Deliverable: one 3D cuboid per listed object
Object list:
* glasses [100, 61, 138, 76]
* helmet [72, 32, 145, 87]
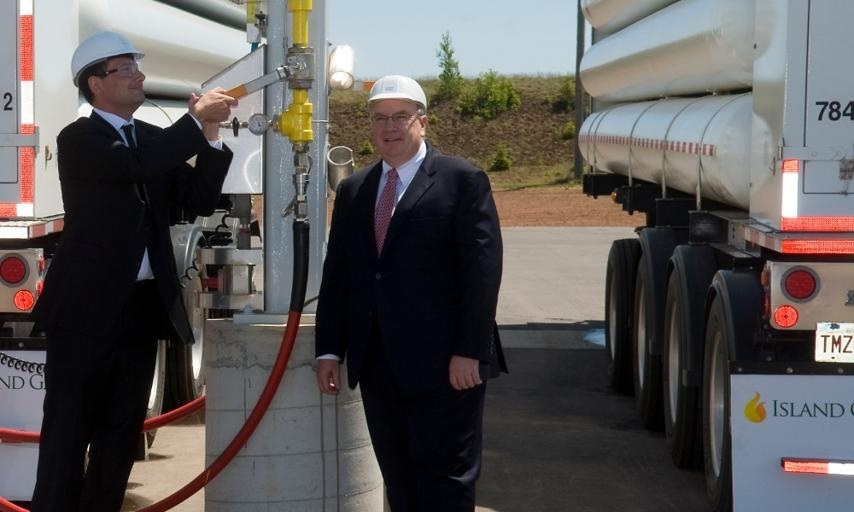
[{"bbox_3d":[-1.891,-1.172,6.163,0.124,0.050,0.103,-8,9,2],"label":"glasses"},{"bbox_3d":[-2.026,-1.254,6.208,0.394,0.218,0.294,-30,15,7],"label":"helmet"}]
